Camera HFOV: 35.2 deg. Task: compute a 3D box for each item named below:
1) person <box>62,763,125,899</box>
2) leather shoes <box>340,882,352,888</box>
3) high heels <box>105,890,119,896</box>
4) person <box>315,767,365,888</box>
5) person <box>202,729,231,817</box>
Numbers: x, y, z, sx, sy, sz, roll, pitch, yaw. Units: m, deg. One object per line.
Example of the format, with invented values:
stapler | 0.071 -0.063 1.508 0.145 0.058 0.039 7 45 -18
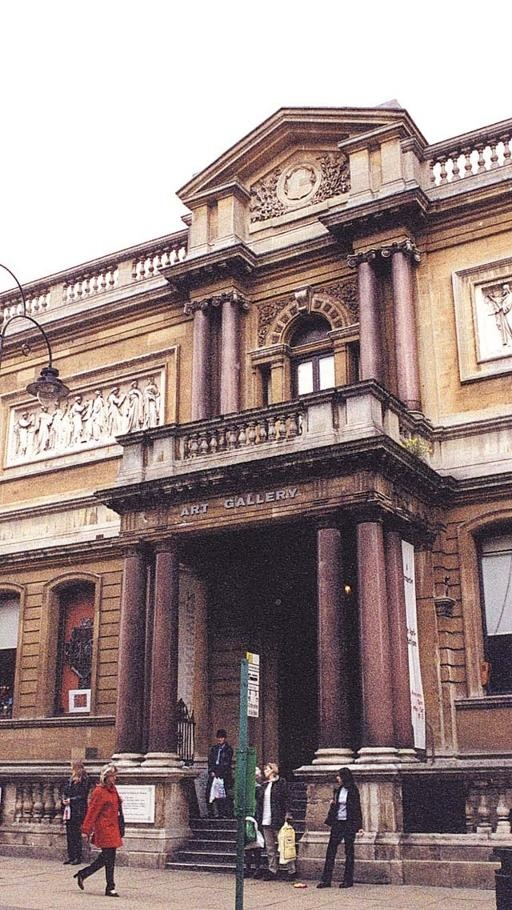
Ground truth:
person | -1.972 4.719 10.196 0.549 1.493 1.180 3 -20 -12
leather shoes | 1.191 5.676 10.684 0.173 0.070 0.321 -6 -22 13
high heels | -1.776 5.366 9.887 0.197 0.093 0.068 -17 -22 34
person | 1.173 5.105 11.125 0.553 1.465 0.871 -7 -20 19
person | -0.722 6.108 15.522 0.491 1.537 0.582 1 -18 -6
